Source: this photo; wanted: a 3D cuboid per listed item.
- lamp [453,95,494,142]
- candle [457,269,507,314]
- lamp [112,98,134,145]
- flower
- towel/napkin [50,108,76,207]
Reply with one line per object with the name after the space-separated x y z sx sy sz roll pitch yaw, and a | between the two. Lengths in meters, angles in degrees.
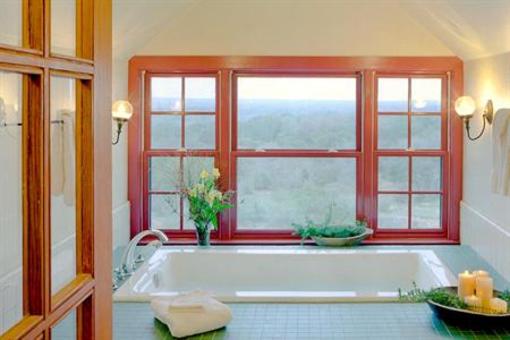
1.805 -0.440 3.478 0.285 0.332 0.221 5 5 35 | lamp
1.202 0.613 2.230 0.198 0.174 0.226 5 -5 -43 | candle
-1.140 -0.412 3.602 0.162 0.380 0.401 -3 8 -19 | lamp
-0.607 0.231 3.801 0.792 0.811 0.534 -1 7 -5 | flower
-0.614 -0.048 1.311 0.085 0.266 0.061 12 9 22 | towel/napkin
